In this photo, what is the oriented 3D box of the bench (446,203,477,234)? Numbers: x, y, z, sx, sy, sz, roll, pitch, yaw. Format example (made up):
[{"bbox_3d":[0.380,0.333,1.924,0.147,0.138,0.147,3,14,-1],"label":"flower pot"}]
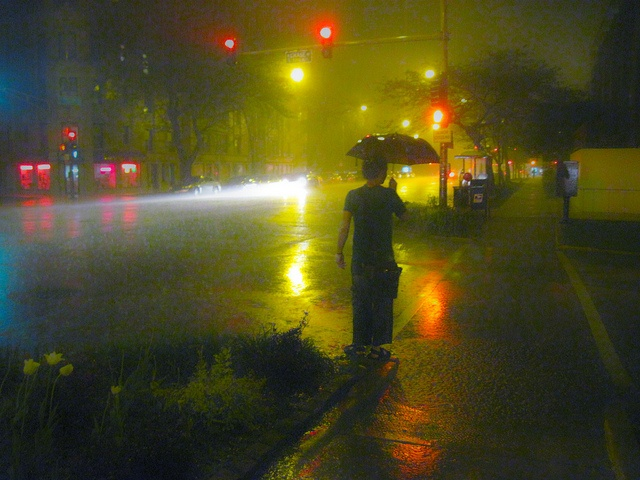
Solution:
[{"bbox_3d":[4.421,-0.570,17.754,0.736,0.446,1.106,0,17,4],"label":"bench"}]

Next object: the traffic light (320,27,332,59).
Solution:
[{"bbox_3d":[0.162,-5.512,16.158,0.362,0.769,0.725,0,8,1],"label":"traffic light"}]

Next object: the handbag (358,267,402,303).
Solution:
[{"bbox_3d":[0.758,0.506,6.978,0.338,0.419,0.103,2,6,13],"label":"handbag"}]

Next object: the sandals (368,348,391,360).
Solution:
[{"bbox_3d":[0.740,1.362,7.055,0.204,0.142,0.135,2,1,-24],"label":"sandals"}]

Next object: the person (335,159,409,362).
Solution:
[{"bbox_3d":[0.620,0.205,7.083,0.795,2.436,0.458,1,6,9],"label":"person"}]
